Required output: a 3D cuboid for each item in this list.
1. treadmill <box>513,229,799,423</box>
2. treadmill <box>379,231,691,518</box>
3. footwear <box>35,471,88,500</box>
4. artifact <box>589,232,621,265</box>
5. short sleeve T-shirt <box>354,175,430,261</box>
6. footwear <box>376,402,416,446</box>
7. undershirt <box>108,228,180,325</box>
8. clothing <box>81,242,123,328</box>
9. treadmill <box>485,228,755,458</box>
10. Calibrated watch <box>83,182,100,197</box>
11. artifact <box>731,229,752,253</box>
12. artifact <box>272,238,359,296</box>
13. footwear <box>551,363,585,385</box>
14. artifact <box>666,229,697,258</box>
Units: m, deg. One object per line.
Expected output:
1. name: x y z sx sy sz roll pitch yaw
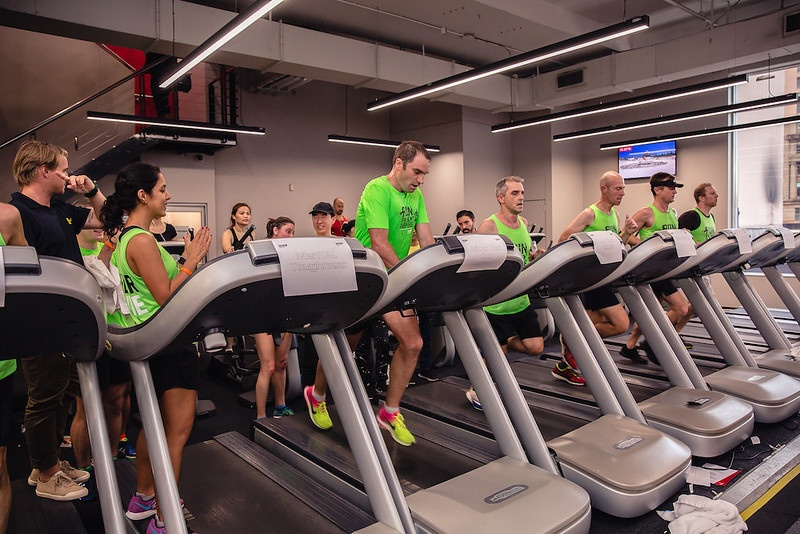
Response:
1. treadmill: 2.685 0.252 4.779 1.254 1.815 2.435 -5 11 -11
2. treadmill: 0.858 0.551 3.621 1.300 1.599 2.221 -2 5 -39
3. footwear: -2.054 1.353 3.051 0.319 0.143 0.142 3 -3 0
4. artifact: 1.267 -0.148 3.045 0.185 0.125 0.216 -4 40 1
5. short sleeve T-shirt: -0.047 -0.273 3.631 0.398 0.705 0.600 27 29 31
6. footwear: -0.007 1.133 3.556 0.372 0.171 0.159 38 10 3
7. undershirt: -1.381 0.076 2.630 0.299 0.368 0.209 31 5 -3
8. clothing: -1.495 0.117 2.518 0.171 0.428 0.341 -13 8 -20
9. treadmill: 1.283 0.529 3.642 1.021 1.363 2.397 14 3 -10
10. Calibrated watch: -2.178 -0.541 3.464 0.091 0.060 0.115 -45 11 -34
11. artifact: 2.788 -0.200 3.959 0.131 0.239 0.061 0 -12 -8
12. artifact: -0.378 0.003 2.125 0.244 0.161 0.088 -4 5 -26
13. footwear: 1.575 1.001 4.544 0.106 0.124 0.287 -2 7 -44
14. artifact: 2.010 -0.158 3.434 0.179 0.274 0.075 -1 -28 -9
